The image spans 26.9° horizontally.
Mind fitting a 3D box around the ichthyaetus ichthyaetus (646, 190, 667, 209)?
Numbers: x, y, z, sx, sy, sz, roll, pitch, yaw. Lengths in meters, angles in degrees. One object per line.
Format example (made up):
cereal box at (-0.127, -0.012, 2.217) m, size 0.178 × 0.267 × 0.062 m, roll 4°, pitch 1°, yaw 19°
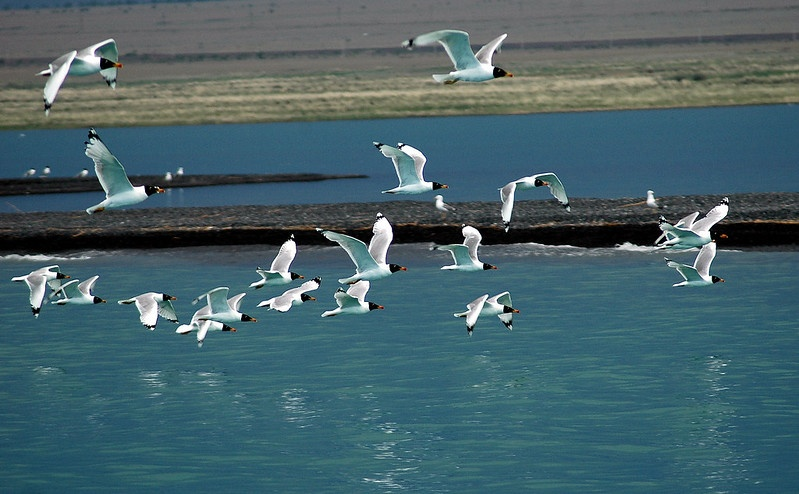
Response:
ichthyaetus ichthyaetus at (12.322, -2.255, 79.692) m, size 1.147 × 0.416 × 1.160 m, roll 5°, pitch 25°, yaw -25°
